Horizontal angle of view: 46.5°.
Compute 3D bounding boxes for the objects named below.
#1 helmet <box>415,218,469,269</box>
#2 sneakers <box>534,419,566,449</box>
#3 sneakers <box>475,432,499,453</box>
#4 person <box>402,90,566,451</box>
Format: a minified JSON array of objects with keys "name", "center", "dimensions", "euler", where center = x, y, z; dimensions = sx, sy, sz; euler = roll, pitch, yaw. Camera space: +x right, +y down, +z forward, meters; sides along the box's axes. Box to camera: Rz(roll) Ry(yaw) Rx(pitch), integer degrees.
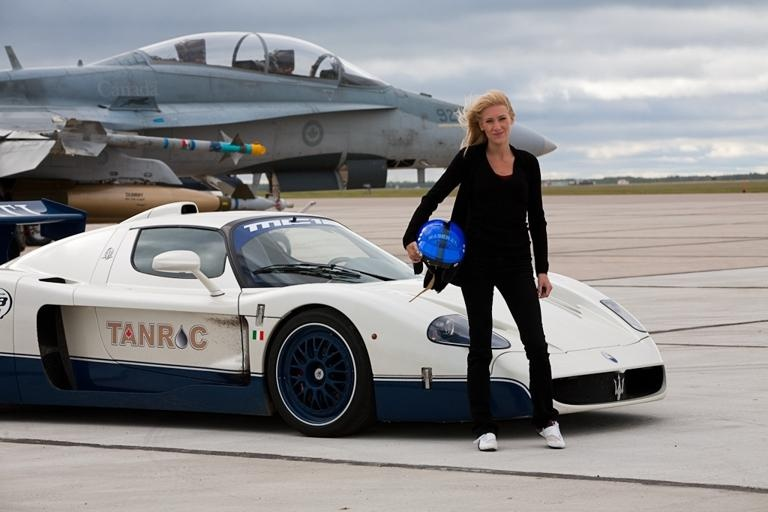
[{"name":"helmet","center":[0.364,-0.100,6.302],"dimensions":[0.317,0.273,0.355],"euler":[16,18,2]},{"name":"sneakers","center":[1.078,1.227,6.215],"dimensions":[0.174,0.184,0.267],"euler":[0,8,9]},{"name":"sneakers","center":[0.628,1.275,6.143],"dimensions":[0.120,0.118,0.162],"euler":[-3,8,-6]},{"name":"person","center":[0.598,0.077,6.227],"dimensions":[0.970,2.453,0.721],"euler":[-2,10,0]}]
